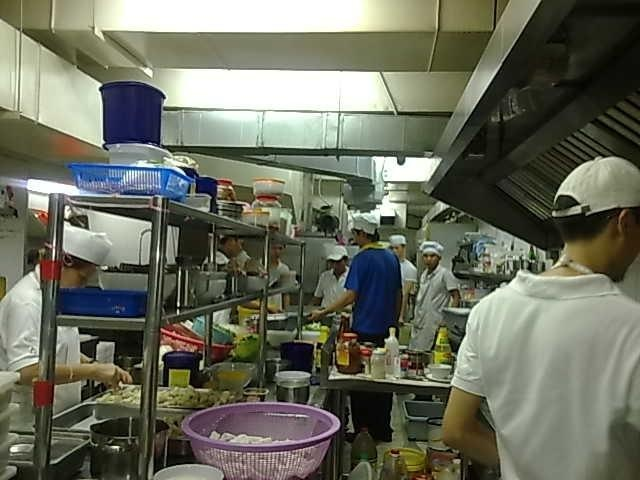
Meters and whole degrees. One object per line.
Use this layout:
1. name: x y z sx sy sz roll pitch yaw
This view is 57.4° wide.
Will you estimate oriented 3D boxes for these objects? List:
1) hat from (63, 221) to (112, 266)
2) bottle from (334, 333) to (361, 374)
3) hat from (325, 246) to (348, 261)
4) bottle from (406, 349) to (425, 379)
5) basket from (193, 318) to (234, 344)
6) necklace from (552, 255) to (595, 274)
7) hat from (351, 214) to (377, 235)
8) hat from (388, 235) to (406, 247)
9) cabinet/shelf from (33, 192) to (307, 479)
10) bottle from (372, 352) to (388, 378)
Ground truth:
1. hat: -0.953 0.019 2.423 0.185 0.124 0.141 8 8 -25
2. bottle: 0.158 0.648 3.379 0.171 0.189 0.210 3 -1 9
3. hat: 0.197 0.139 6.353 0.147 0.118 0.236 -6 -9 21
4. bottle: 0.549 0.711 3.360 0.125 0.161 0.129 0 -1 0
5. basket: -0.699 0.572 3.716 0.231 0.094 0.221 21 -18 27
6. necklace: 0.810 0.090 1.891 0.039 0.075 0.074 38 1 -44
7. hat: 0.367 -0.142 4.964 0.181 0.156 0.161 13 8 17
8. hat: 0.971 0.022 7.344 0.209 0.161 0.157 -5 7 -9
9. cabinet/shelf: -0.652 0.368 2.512 0.455 1.042 1.053 3 -1 19
10. bottle: 0.342 0.699 3.268 0.117 0.123 0.058 4 -1 -27
